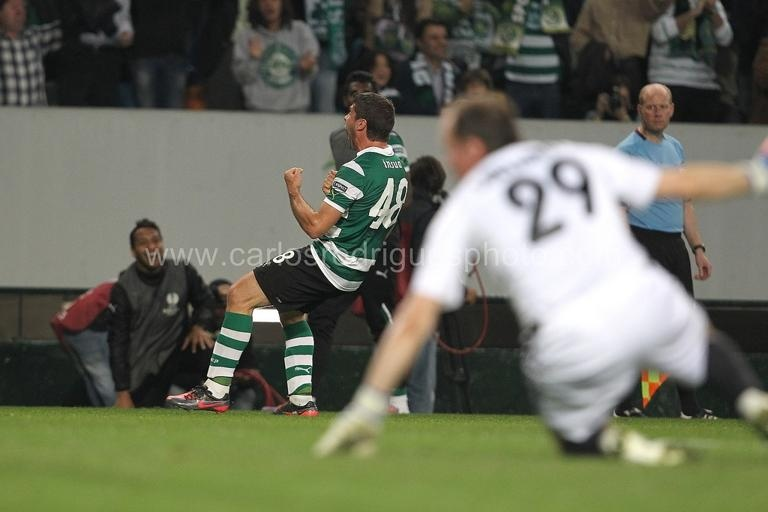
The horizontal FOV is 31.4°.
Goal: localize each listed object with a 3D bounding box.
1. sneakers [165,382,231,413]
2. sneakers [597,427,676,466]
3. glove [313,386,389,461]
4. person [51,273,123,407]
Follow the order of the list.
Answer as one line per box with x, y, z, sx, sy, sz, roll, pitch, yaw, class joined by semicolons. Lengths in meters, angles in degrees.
-1.445;1.121;10.738;0.534;0.268;0.193;8;-13;-6;sneakers
1.614;1.257;8.733;0.424;0.141;0.257;12;-7;2;sneakers
-0.162;0.998;8.197;0.619;0.246;0.287;-31;-11;17;glove
-2.620;0.743;11.857;0.544;0.991;0.455;-1;18;-10;person
